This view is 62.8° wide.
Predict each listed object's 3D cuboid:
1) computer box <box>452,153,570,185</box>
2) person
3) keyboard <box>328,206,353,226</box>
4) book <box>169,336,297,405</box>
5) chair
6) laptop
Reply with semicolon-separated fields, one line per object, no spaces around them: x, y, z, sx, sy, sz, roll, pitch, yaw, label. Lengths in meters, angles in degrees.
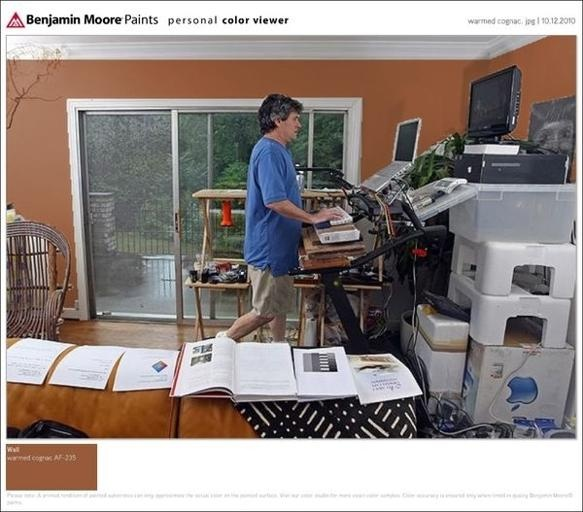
1.126;-0.462;2.508;0.551;0.176;0.260;4;9;27;computer box
-0.098;-0.182;2.811;0.665;1.509;0.437;1;8;7;person
0.257;-0.214;2.584;0.120;0.087;0.182;0;8;4;keyboard
-0.187;0.382;1.621;0.401;0.163;0.261;-1;8;-3;book
-1.541;0.140;2.905;0.356;0.682;0.484;-5;9;-30;chair
0.583;-0.612;2.887;0.321;0.451;0.655;1;8;7;laptop
